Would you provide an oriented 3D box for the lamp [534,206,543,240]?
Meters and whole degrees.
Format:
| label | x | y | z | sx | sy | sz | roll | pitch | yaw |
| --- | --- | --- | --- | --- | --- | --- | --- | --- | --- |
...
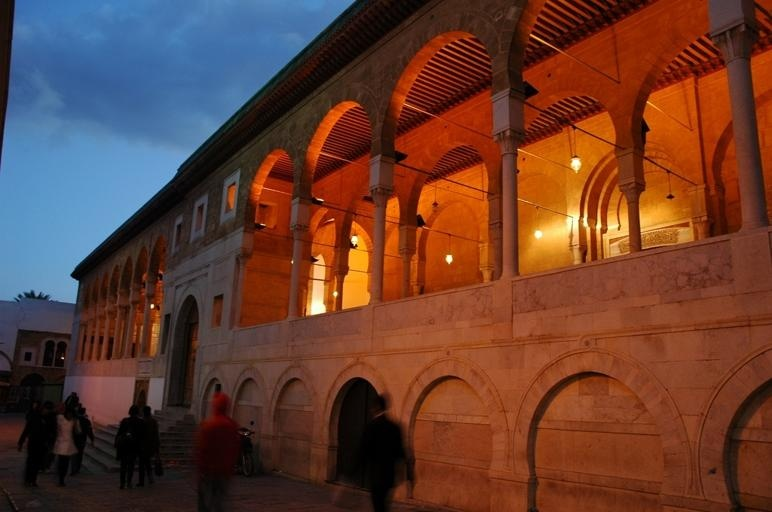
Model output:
| label | x | y | z | sx | sy | sz | roll | pitch | yaw |
| --- | --- | --- | --- | --- | --- | --- | --- | --- | --- |
| lamp | 5.053 | -1.122 | 18.236 | 0.259 | 1.114 | 0.531 | -1 | -17 | 6 |
